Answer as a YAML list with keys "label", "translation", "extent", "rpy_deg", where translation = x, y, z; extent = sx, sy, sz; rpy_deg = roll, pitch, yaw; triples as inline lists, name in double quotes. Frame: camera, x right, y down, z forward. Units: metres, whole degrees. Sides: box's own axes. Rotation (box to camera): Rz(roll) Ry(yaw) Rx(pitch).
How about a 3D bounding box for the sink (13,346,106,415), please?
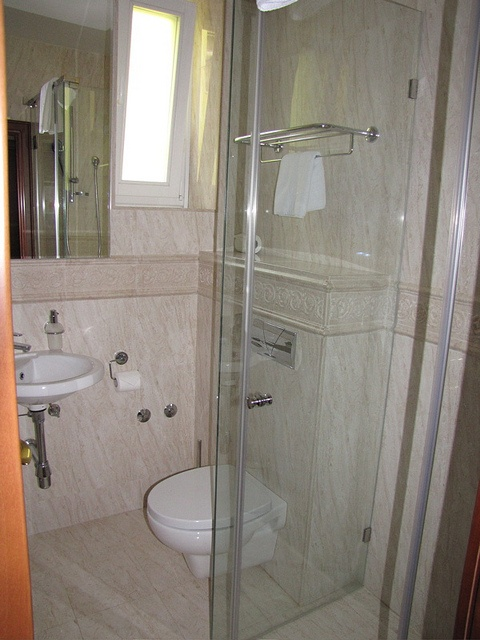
- label: "sink"
  translation: [-0.641, 0.228, 1.798]
  extent: [0.296, 0.192, 0.310]
  rpy_deg: [-2, 10, -29]

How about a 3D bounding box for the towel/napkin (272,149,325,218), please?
- label: "towel/napkin"
  translation: [0.150, -0.327, 1.211]
  extent: [0.191, 0.160, 0.030]
  rpy_deg: [-5, 9, -43]

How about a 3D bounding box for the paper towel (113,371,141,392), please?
- label: "paper towel"
  translation: [-0.459, 0.233, 2.069]
  extent: [0.080, 0.108, 0.071]
  rpy_deg: [0, -4, -32]

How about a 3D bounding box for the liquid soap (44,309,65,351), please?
- label: "liquid soap"
  translation: [-0.725, 0.034, 1.950]
  extent: [0.067, 0.162, 0.139]
  rpy_deg: [-1, 8, -23]
